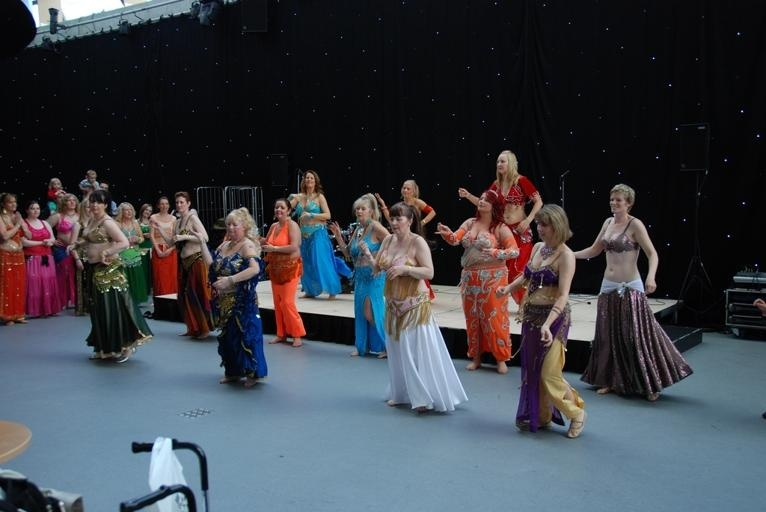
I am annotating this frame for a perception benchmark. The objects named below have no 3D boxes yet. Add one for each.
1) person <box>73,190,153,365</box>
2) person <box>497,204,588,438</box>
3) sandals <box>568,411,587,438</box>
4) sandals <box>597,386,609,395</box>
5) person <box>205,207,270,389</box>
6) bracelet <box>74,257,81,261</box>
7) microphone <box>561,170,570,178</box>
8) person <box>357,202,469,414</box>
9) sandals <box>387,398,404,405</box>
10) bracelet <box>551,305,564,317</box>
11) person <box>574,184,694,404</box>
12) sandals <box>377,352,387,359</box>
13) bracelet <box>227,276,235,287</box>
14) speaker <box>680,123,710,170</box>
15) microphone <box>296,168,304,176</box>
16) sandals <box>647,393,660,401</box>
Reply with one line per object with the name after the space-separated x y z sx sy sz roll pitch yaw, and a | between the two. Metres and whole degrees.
-3.311 0.259 6.365 0.783 2.114 0.364 1 9 12 | person
1.369 0.549 4.306 0.628 1.930 0.451 3 10 24 | person
1.631 1.427 4.355 0.077 0.318 0.109 3 14 -5 | sandals
2.216 1.369 5.211 0.055 0.051 0.119 -10 -16 42 | sandals
-1.544 0.449 5.514 0.555 1.900 0.471 -2 9 -8 | person
-4.909 0.042 8.373 0.081 0.068 0.086 2 5 23 | bracelet
2.886 -1.305 8.169 0.119 0.043 0.227 6 1 -3 | microphone
0.315 0.478 4.900 0.891 1.937 0.491 6 11 39 | person
0.126 1.422 5.010 0.115 0.068 0.069 7 5 15 | sandals
1.397 0.440 4.160 0.062 0.065 0.066 0 6 25 | bracelet
2.445 0.348 5.119 0.940 2.072 0.467 4 10 30 | person
-0.006 1.244 6.439 0.068 0.078 0.170 -2 -12 9 | sandals
-1.548 0.262 5.294 0.066 0.114 0.098 3 4 -4 | bracelet
4.351 -1.518 7.243 0.348 0.654 0.152 1 9 9 | speaker
-1.651 -1.699 10.463 0.132 0.285 0.143 -2 6 -31 | microphone
2.636 1.367 5.034 0.065 0.057 0.172 46 9 22 | sandals
